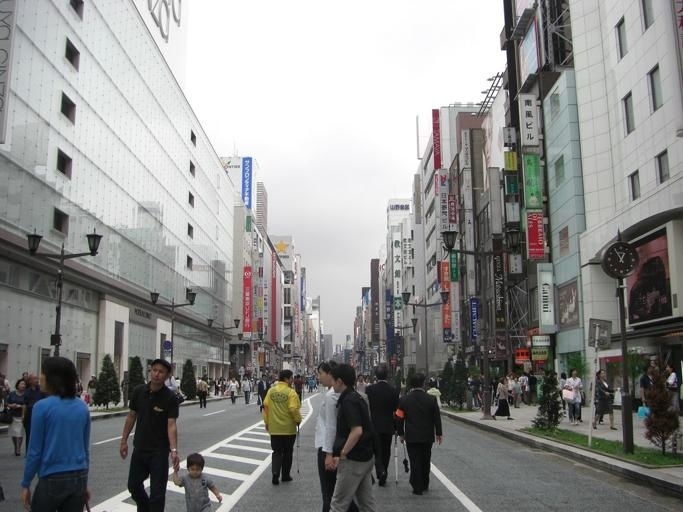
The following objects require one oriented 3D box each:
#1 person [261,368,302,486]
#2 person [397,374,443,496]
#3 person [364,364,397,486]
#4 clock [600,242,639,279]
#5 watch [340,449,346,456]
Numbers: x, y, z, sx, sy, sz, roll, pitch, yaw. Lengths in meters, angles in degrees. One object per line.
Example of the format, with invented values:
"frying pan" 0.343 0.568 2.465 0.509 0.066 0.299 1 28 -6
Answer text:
"person" -1.210 3.513 12.527 0.710 2.493 0.862 -1 -2 3
"person" 1.542 3.422 11.879 0.672 2.285 0.982 -2 -5 22
"person" 0.864 3.460 12.382 0.668 2.299 0.970 0 -4 0
"clock" 7.920 0.097 17.173 0.990 1.119 0.363 -1 -15 -1
"watch" 0.032 2.597 7.929 0.062 0.075 0.069 3 -3 19
